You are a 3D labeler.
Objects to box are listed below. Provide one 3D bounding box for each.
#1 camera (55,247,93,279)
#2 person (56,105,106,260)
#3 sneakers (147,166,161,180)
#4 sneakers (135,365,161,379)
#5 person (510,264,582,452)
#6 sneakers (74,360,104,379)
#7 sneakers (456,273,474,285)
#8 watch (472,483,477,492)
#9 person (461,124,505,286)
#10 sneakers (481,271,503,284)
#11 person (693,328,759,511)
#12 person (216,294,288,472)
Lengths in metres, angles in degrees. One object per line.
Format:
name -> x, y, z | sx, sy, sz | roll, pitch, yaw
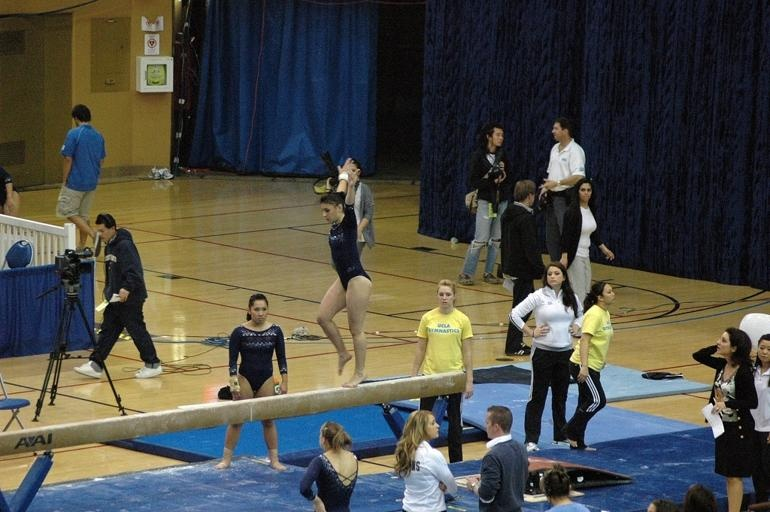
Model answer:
camera -> -3.428, 0.094, 9.605 | 0.395, 0.327, 0.334 | -2, 6, -33
person -> -5.041, -1.237, 14.505 | 0.750, 2.567, 0.758 | 20, 18, 41
sneakers -> -5.985, -2.153, 22.631 | 0.340, 0.273, 0.190 | -7, 5, 36
sneakers -> -2.792, 1.370, 10.219 | 0.273, 0.116, 0.132 | 0, 2, -2
person -> 1.660, 1.013, 8.786 | 0.663, 1.893, 0.404 | -1, 6, -21
sneakers -> -3.482, 1.336, 10.212 | 0.310, 0.186, 0.180 | 11, 0, 5
sneakers -> 1.320, 0.381, 14.242 | 0.255, 0.183, 0.140 | -6, 13, -43
watch -> 0.687, 1.765, 6.585 | 0.042, 0.045, 0.042 | -19, -3, 27
person -> 1.679, -0.793, 13.971 | 0.645, 2.572, 0.799 | -2, 6, -29
sneakers -> 1.793, 0.364, 14.585 | 0.357, 0.264, 0.143 | 2, 8, 24
person -> 2.977, 1.374, 7.369 | 0.360, 1.507, 0.432 | 4, 6, 23
person -> -1.260, 1.196, 8.235 | 0.639, 1.669, 0.793 | 0, 6, -8
